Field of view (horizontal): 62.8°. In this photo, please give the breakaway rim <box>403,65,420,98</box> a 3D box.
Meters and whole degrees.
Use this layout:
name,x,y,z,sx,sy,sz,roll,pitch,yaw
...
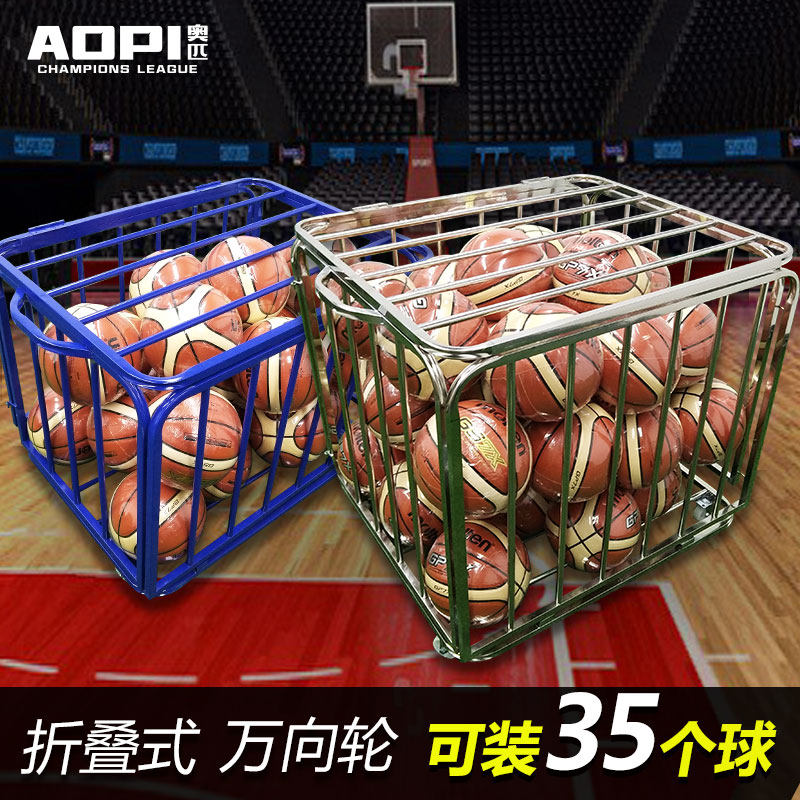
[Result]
name,x,y,z,sx,sy,sz,roll,pitch,yaw
breakaway rim,0.130,-3.118,6.566,0.165,0.247,0.451,-3,30,1

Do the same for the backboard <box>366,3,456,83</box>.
name,x,y,z,sx,sy,sz,roll,pitch,yaw
backboard,0.130,-3.702,6.975,0.871,1.048,0.227,0,-6,2

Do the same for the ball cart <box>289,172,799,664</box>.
name,x,y,z,sx,sy,sz,roll,pitch,yaw
ball cart,0.183,0.068,1.500,0.947,0.773,0.895,-17,36,-24

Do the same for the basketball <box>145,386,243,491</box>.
name,x,y,z,sx,sy,sz,roll,pitch,yaw
basketball,-0.367,0.054,1.285,0.149,0.210,0.170,8,4,2

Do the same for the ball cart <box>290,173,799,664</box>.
name,x,y,z,sx,sy,sz,roll,pitch,yaw
ball cart,0.182,0.066,1.501,0.946,0.778,0.895,-17,36,-24
